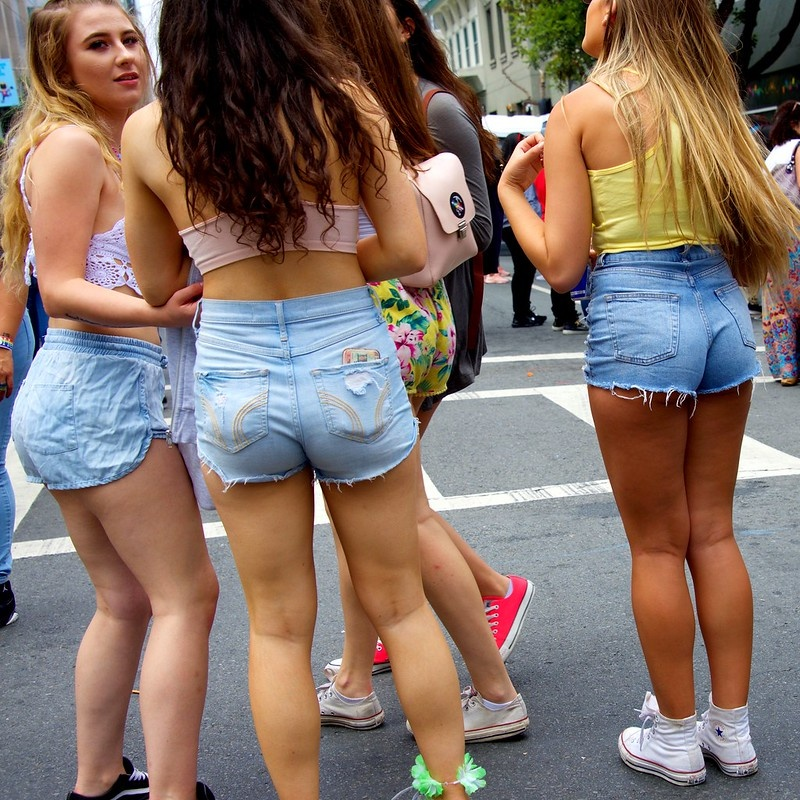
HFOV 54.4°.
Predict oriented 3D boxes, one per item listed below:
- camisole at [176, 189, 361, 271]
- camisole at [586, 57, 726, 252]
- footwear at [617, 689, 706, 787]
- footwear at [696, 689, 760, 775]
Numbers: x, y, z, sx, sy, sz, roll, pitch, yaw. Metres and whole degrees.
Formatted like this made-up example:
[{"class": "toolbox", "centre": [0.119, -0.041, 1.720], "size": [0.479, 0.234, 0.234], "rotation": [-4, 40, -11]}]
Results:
[{"class": "camisole", "centre": [-0.279, -0.361, 1.588], "size": [0.374, 0.120, 0.365], "rotation": [-3, 7, -19]}, {"class": "camisole", "centre": [0.676, -0.638, 2.023], "size": [0.316, 0.510, 0.392], "rotation": [-16, 20, -16]}, {"class": "footwear", "centre": [0.754, 0.965, 2.267], "size": [0.154, 0.214, 0.331], "rotation": [3, -10, -18]}, {"class": "footwear", "centre": [0.942, 0.960, 2.289], "size": [0.122, 0.193, 0.318], "rotation": [-1, -7, -4]}]
